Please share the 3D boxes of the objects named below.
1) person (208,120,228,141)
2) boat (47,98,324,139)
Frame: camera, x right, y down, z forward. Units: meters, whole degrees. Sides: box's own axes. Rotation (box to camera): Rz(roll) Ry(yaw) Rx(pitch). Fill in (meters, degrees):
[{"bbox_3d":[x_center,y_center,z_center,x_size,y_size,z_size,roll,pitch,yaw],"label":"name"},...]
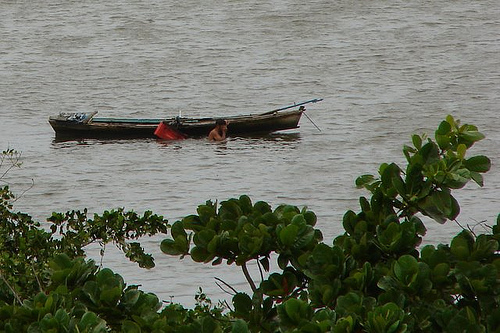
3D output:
[{"bbox_3d":[-1.250,-1.490,50.298,0.716,0.871,0.233,3,4,-4],"label":"person"},{"bbox_3d":[-3.055,-1.937,51.293,9.818,1.623,3.717,3,3,9],"label":"boat"}]
